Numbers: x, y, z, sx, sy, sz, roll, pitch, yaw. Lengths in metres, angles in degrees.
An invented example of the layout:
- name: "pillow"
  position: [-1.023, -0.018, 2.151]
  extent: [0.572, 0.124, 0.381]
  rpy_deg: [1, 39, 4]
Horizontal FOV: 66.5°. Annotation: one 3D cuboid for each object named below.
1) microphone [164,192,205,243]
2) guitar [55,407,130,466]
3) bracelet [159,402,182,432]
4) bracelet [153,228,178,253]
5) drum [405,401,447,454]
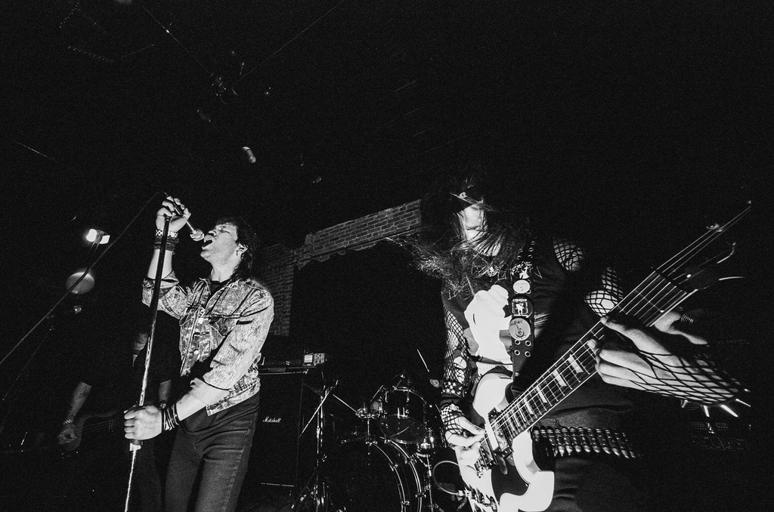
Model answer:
- name: "microphone"
  position: [-1.593, -0.290, 4.640]
  extent: [0.143, 0.171, 0.527]
  rpy_deg: [33, -12, 4]
- name: "guitar"
  position: [-2.185, 1.330, 4.439]
  extent: [0.546, 0.344, 0.148]
  rpy_deg: [-1, -34, 7]
- name: "bracelet"
  position: [-1.495, 1.105, 4.106]
  extent: [0.145, 0.187, 0.095]
  rpy_deg: [0, 0, 29]
- name: "bracelet"
  position: [-1.686, -0.118, 4.495]
  extent: [0.161, 0.166, 0.121]
  rpy_deg: [4, 19, 42]
- name: "drum"
  position: [0.287, 1.260, 4.275]
  extent: [0.289, 0.311, 0.300]
  rpy_deg: [-3, -15, 5]
